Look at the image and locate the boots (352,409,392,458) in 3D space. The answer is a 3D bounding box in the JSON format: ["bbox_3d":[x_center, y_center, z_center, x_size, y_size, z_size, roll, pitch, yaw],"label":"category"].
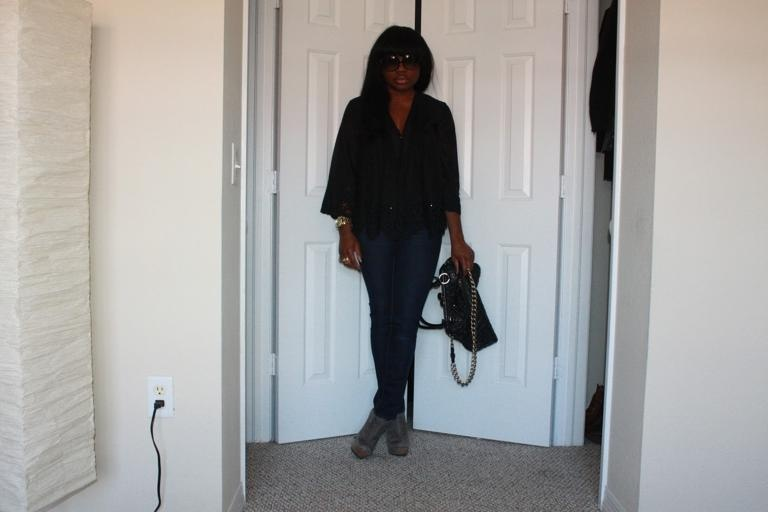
[{"bbox_3d":[-0.060,0.809,2.646,0.088,0.185,0.258,20,15,18],"label":"boots"}]

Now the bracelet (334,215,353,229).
[{"bbox_3d":[-0.183,-0.155,2.643,0.053,0.048,0.069,0,6,-5],"label":"bracelet"}]

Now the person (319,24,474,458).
[{"bbox_3d":[0.075,-0.146,2.656,0.623,1.749,0.240,2,4,-21],"label":"person"}]

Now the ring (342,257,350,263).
[{"bbox_3d":[-0.177,0.019,2.684,0.025,0.026,0.007,12,48,15],"label":"ring"}]
